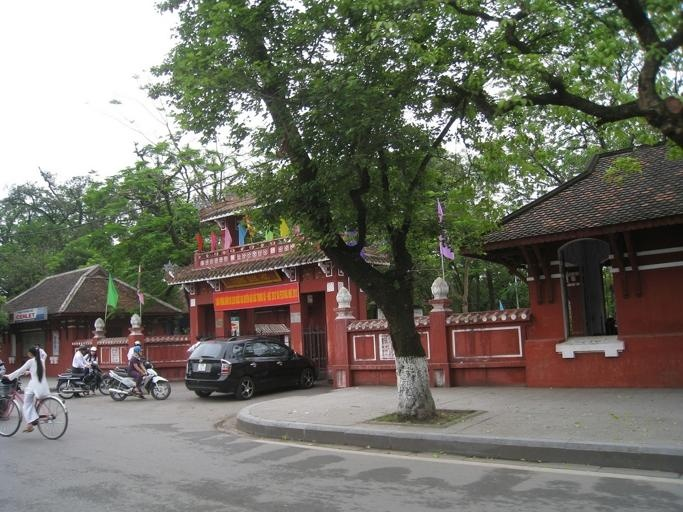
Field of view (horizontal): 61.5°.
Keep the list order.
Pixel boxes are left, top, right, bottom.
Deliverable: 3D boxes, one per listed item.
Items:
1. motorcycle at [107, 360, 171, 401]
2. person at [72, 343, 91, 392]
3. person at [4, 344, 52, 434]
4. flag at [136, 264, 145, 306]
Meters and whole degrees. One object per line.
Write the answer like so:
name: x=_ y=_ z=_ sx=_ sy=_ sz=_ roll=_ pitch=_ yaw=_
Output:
motorcycle: x=-7.016 y=4.464 z=19.845 sx=2.187 sy=1.366 sz=1.030 roll=-3 pitch=-13 yaw=-1
person: x=-9.507 y=3.964 z=20.914 sx=0.587 sy=1.678 sz=1.200 roll=-4 pitch=0 yaw=-25
person: x=-6.695 y=2.913 z=12.301 sx=0.748 sy=1.878 sz=1.484 roll=-4 pitch=0 yaw=-29
flag: x=-11.224 y=1.600 z=32.153 sx=0.526 sy=0.622 sz=2.943 roll=-12 pitch=-41 yaw=-31
